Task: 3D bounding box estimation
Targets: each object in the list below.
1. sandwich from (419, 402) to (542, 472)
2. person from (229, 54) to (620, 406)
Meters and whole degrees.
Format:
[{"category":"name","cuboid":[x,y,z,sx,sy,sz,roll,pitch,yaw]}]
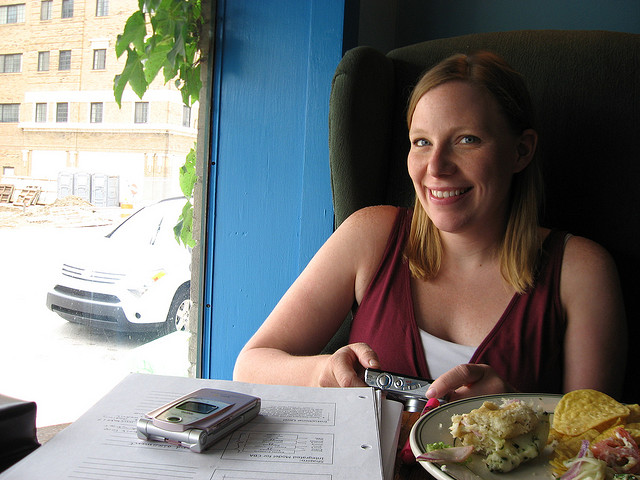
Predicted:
[{"category":"sandwich","cuboid":[0.264,0.279,0.877,0.149,0.055,0.099,-11,13,-33]},{"category":"person","cuboid":[0.247,-0.071,1.571,0.782,1.050,0.888,6,0,34]}]
